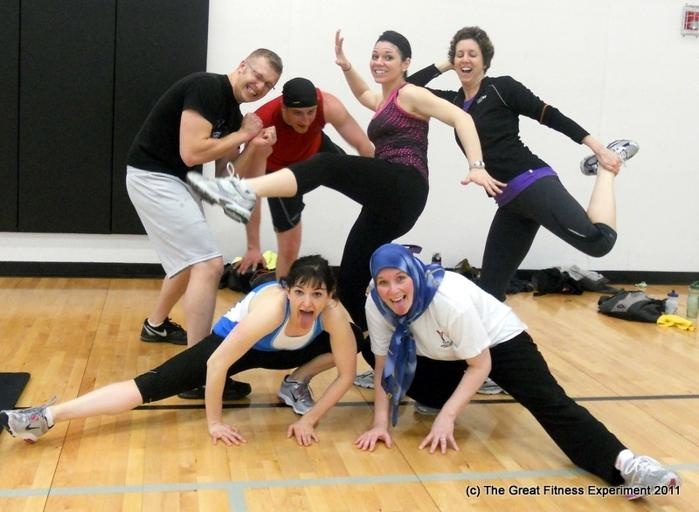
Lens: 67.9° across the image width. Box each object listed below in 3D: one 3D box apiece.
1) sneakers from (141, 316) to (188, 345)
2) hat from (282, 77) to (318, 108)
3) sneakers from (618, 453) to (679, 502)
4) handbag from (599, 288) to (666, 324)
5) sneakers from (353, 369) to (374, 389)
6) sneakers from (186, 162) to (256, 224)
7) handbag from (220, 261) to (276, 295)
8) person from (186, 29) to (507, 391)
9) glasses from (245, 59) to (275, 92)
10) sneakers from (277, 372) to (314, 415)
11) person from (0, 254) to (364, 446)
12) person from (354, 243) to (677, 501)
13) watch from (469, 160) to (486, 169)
[{"bbox_3d":[-1.289,0.538,3.726,0.403,0.192,0.159,2,7,-13],"label":"sneakers"},{"bbox_3d":[-0.270,-0.903,2.885,0.163,0.122,0.174,-9,42,-8],"label":"hat"},{"bbox_3d":[1.227,0.910,2.143,0.214,0.159,0.090,31,-11,37],"label":"sneakers"},{"bbox_3d":[2.558,0.465,4.665,0.395,0.123,0.305,12,24,30],"label":"handbag"},{"bbox_3d":[0.094,0.760,3.213,0.061,0.073,0.158,3,5,-19],"label":"sneakers"},{"bbox_3d":[-0.637,-0.292,2.577,0.363,0.220,0.177,12,14,35],"label":"sneakers"},{"bbox_3d":[-0.959,0.149,4.845,0.414,0.172,0.366,8,13,41],"label":"handbag"},{"bbox_3d":[-0.234,-0.544,3.597,1.350,1.675,0.787,-16,43,-18],"label":"person"},{"bbox_3d":[-0.497,-0.952,2.852,0.141,0.142,0.172,34,-5,-16],"label":"glasses"},{"bbox_3d":[-0.286,0.747,2.827,0.110,0.132,0.262,3,14,-44],"label":"sneakers"},{"bbox_3d":[-0.547,0.287,2.676,1.913,0.898,0.769,-3,38,-20],"label":"person"},{"bbox_3d":[0.727,0.549,2.460,1.437,1.036,0.661,3,8,33],"label":"person"},{"bbox_3d":[0.710,-0.484,2.813,0.063,0.044,0.058,-8,10,-30],"label":"watch"}]
